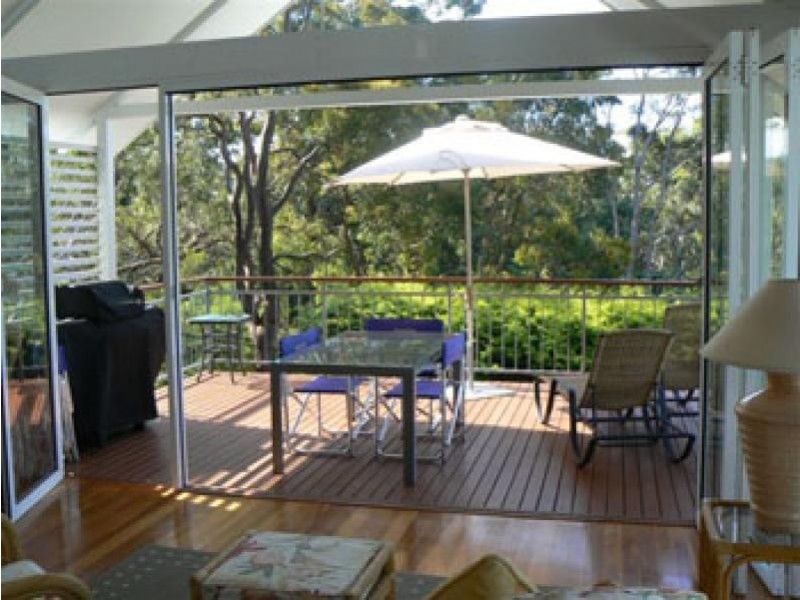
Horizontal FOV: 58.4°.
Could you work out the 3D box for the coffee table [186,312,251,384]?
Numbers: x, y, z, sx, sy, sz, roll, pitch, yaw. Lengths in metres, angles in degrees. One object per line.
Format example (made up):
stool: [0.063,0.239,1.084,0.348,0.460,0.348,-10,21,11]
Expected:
coffee table: [-1.684,0.418,6.724,0.666,0.604,0.650,6,9,41]

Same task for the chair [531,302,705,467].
chair: [1.878,0.666,6.030,0.771,1.133,1.653,-1,1,-2]

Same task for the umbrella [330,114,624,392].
umbrella: [0.612,-0.463,6.411,1.957,2.278,1.995,-11,12,-34]
